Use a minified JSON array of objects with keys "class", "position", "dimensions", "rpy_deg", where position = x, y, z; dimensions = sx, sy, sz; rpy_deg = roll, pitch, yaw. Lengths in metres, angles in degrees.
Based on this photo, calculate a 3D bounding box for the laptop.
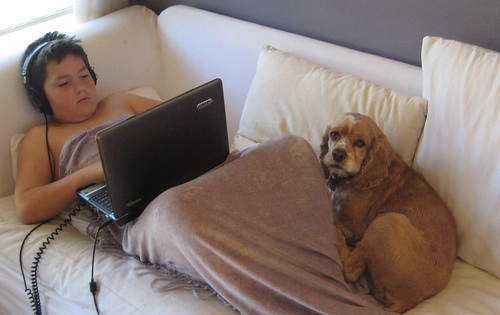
[{"class":"laptop","position":[-0.447,-0.081,1.893],"dimensions":[0.385,0.435,0.618],"rpy_deg":[24,41,37]}]

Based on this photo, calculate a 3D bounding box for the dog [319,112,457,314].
[{"class":"dog","position":[0.536,0.219,1.744],"dimensions":[0.617,0.656,0.410],"rpy_deg":[15,34,27]}]

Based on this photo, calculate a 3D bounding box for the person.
[{"class":"person","position":[-1.010,-0.175,2.163],"dimensions":[0.794,0.503,0.949],"rpy_deg":[-30,30,-34]}]

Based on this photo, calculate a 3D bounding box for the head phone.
[{"class":"head phone","position":[-1.038,-0.417,2.310],"dimensions":[0.311,0.381,0.171],"rpy_deg":[-30,22,-13]}]
